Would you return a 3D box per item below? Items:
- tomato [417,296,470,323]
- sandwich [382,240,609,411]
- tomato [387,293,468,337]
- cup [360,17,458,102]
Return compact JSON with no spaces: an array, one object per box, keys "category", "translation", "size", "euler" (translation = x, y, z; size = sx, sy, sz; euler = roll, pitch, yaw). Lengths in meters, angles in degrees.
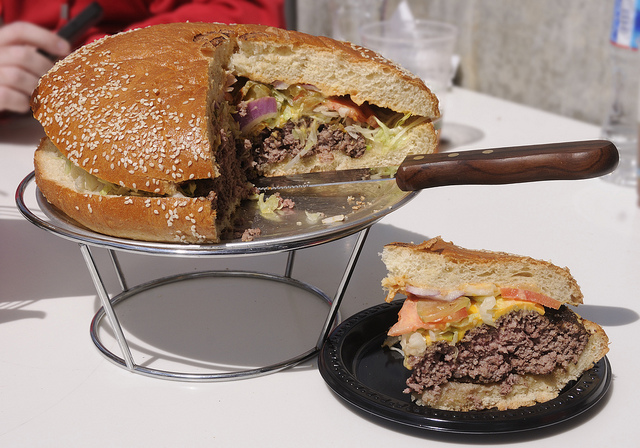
[{"category":"tomato","translation":[0.307,0.207,1.560],"size":[0.083,0.025,0.083],"euler":[-7,20,0]},{"category":"sandwich","translation":[0.426,0.236,1.591],"size":[0.522,0.317,0.367],"euler":[-5,33,-11]},{"category":"tomato","translation":[0.258,0.235,1.570],"size":[0.136,0.040,0.131],"euler":[-28,27,-12]},{"category":"cup","translation":[0.424,-0.759,2.975],"size":[0.519,0.406,0.559],"euler":[-1,24,1]}]
